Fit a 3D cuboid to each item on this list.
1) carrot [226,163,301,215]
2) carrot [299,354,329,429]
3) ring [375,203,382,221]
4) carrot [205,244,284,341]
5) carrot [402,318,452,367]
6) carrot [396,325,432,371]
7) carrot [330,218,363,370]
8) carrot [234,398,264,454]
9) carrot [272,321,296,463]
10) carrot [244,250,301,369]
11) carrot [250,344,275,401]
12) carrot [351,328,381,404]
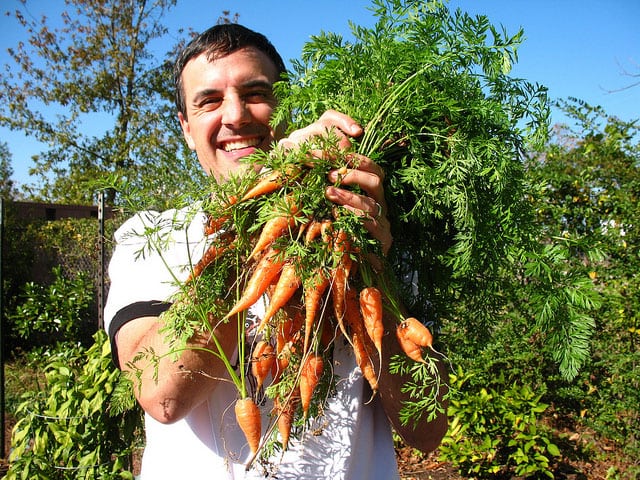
[{"bbox_3d":[-0.271,-0.243,2.170,0.326,0.072,0.080,-35,-68,18],"label":"carrot"},{"bbox_3d":[-0.031,0.731,2.209,0.081,0.362,0.089,11,-15,-5],"label":"carrot"},{"bbox_3d":[0.285,-0.128,2.174,0.023,0.071,0.055,2,28,38],"label":"ring"},{"bbox_3d":[-0.311,0.204,2.300,0.160,0.712,0.155,33,-5,7],"label":"carrot"},{"bbox_3d":[0.526,0.546,2.277,0.139,0.256,0.075,-39,-19,23],"label":"carrot"},{"bbox_3d":[0.479,0.542,2.269,0.120,0.212,0.059,-40,-14,16],"label":"carrot"},{"bbox_3d":[0.098,0.206,2.191,0.078,0.609,0.084,-3,10,-8],"label":"carrot"},{"bbox_3d":[-0.350,0.877,2.172,0.104,0.294,0.117,-5,-4,-11],"label":"carrot"},{"bbox_3d":[-0.190,0.771,2.298,0.100,0.682,0.103,10,-9,-19],"label":"carrot"},{"bbox_3d":[-0.198,0.341,2.201,0.132,0.554,0.122,25,0,12],"label":"carrot"},{"bbox_3d":[-0.296,0.649,2.294,0.089,0.316,0.084,5,0,17],"label":"carrot"},{"bbox_3d":[0.225,0.626,2.340,0.076,0.483,0.080,-2,-16,-37],"label":"carrot"}]
